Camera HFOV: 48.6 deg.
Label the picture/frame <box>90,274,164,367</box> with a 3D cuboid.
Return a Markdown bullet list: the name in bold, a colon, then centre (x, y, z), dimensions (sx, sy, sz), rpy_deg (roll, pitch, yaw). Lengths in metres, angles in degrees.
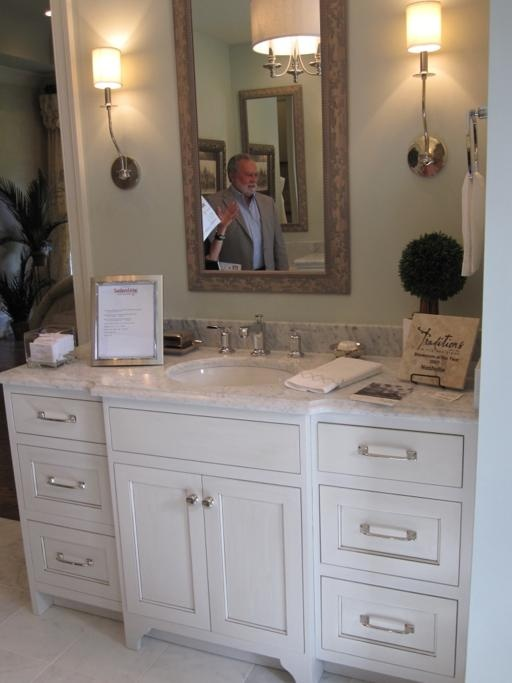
- **picture/frame**: centre (-0.423, -0.060, 1.880), dimensions (0.286, 0.370, 0.035), rpy_deg (-1, -5, 5)

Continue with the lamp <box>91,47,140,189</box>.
- **lamp**: centre (-0.545, -0.806, 2.093), dimensions (0.177, 0.487, 0.118), rpy_deg (5, 14, 35)

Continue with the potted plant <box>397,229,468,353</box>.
- **potted plant**: centre (0.468, -0.179, 1.572), dimensions (0.214, 0.260, 0.215), rpy_deg (2, 5, 20)

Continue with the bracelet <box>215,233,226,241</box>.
- **bracelet**: centre (-0.128, -0.371, 2.019), dimensions (0.034, 0.022, 0.030), rpy_deg (1, 3, -26)

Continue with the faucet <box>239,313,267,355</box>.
- **faucet**: centre (-0.008, -0.025, 1.959), dimensions (0.083, 0.130, 0.184), rpy_deg (-3, 11, 1)

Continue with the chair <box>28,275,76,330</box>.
- **chair**: centre (-1.897, -0.372, 5.416), dimensions (0.612, 0.474, 0.356), rpy_deg (8, 15, 44)

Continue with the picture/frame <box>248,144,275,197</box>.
- **picture/frame**: centre (0.022, -0.563, 1.849), dimensions (0.139, 0.195, 0.014), rpy_deg (12, 26, 31)
